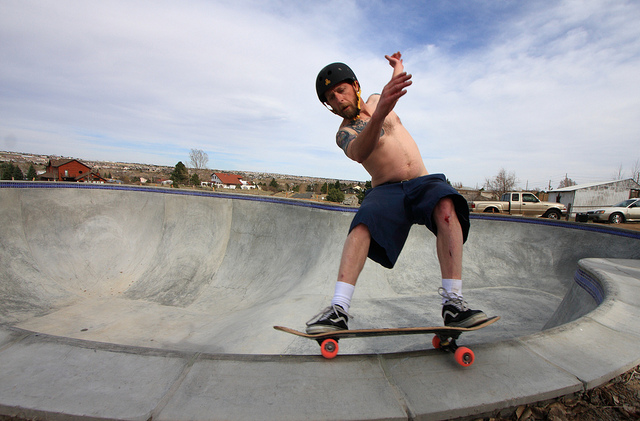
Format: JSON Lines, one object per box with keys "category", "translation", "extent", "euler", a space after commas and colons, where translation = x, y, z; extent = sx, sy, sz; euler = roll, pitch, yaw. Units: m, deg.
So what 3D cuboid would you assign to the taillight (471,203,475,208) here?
{"category": "taillight", "translation": [8.787, -0.297, 18.098], "extent": [0.126, 0.255, 0.249], "euler": [-7, -1, -28]}
